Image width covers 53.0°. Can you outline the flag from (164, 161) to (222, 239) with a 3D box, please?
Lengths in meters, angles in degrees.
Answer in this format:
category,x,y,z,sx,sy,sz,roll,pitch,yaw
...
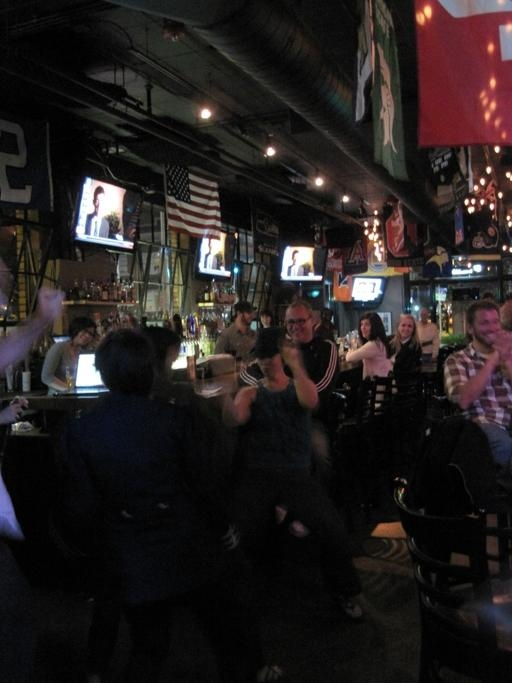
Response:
category,x,y,z,sx,sy,sz,roll,pitch,yaw
flag,-0.903,-2.041,7.345,0.107,1.112,1.449,-1,-1,28

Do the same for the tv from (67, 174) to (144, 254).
category,x,y,z,sx,sy,sz,roll,pitch,yaw
tv,-2.238,-1.834,7.461,0.196,1.136,1.493,12,3,23

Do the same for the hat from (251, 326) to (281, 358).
category,x,y,z,sx,sy,sz,roll,pitch,yaw
hat,0.042,0.009,2.372,0.103,0.150,0.119,9,4,-3

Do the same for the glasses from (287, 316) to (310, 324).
category,x,y,z,sx,sy,sz,roll,pitch,yaw
glasses,0.270,-0.132,3.441,0.130,0.050,0.046,11,2,26

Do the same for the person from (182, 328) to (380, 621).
category,x,y,z,sx,sy,sz,roll,pitch,yaw
person,0.120,0.590,2.337,0.669,1.357,0.697,0,6,8

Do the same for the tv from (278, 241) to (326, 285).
category,x,y,z,sx,sy,sz,roll,pitch,yaw
tv,1.142,-2.074,13.273,1.010,0.788,0.139,-2,7,-26
